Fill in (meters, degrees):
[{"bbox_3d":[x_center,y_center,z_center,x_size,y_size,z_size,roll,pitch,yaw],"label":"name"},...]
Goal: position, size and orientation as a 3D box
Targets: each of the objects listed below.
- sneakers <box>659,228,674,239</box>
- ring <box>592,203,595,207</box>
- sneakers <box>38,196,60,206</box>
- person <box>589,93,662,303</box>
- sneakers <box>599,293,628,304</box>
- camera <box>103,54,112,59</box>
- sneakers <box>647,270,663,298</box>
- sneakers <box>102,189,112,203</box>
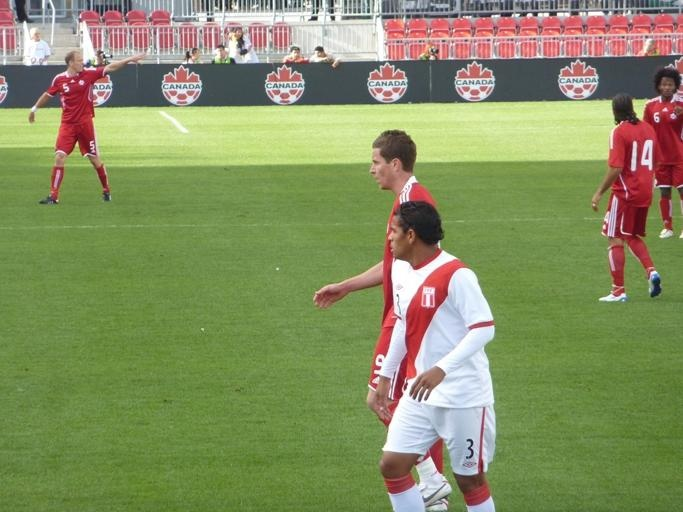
[{"bbox_3d":[5.148,-0.399,26.587,0.113,0.117,0.271,-1,-3,25],"label":"sneakers"},{"bbox_3d":[3.604,-0.784,23.914,0.042,0.042,0.038,-10,9,4],"label":"ring"},{"bbox_3d":[-5.123,-1.006,28.844,0.346,0.161,0.125,1,2,-25],"label":"sneakers"},{"bbox_3d":[4.104,-0.912,24.034,0.973,2.990,0.851,-2,11,-5],"label":"person"},{"bbox_3d":[3.895,0.588,23.920,0.448,0.197,0.152,2,3,4],"label":"sneakers"},{"bbox_3d":[-6.918,-6.021,48.628,0.286,0.209,0.449,-1,6,-15],"label":"camera"},{"bbox_3d":[4.484,0.392,23.912,0.153,0.426,0.211,-5,53,5],"label":"sneakers"},{"bbox_3d":[-4.156,-1.102,29.106,0.129,0.165,0.170,0,0,-6],"label":"sneakers"}]
